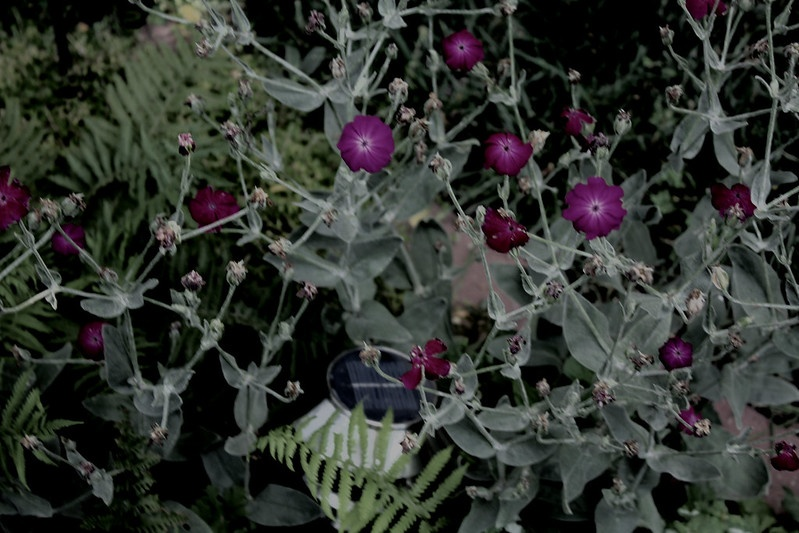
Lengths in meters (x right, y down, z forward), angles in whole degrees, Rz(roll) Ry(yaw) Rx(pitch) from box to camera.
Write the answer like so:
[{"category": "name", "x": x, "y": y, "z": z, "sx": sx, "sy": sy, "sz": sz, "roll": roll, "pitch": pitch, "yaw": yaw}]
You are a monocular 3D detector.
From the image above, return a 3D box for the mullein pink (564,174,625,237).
[{"category": "mullein pink", "x": 0.399, "y": -0.145, "z": 1.685, "sx": 0.112, "sy": 0.134, "sz": 0.050, "roll": 3, "pitch": 81, "yaw": -13}]

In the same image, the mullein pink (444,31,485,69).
[{"category": "mullein pink", "x": 0.144, "y": -0.482, "z": 1.855, "sx": 0.090, "sy": 0.099, "sz": 0.034, "roll": 2, "pitch": 100, "yaw": 33}]

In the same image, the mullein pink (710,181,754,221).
[{"category": "mullein pink", "x": 0.671, "y": -0.137, "z": 1.685, "sx": 0.070, "sy": 0.033, "sz": 0.074, "roll": 1, "pitch": 81, "yaw": 7}]

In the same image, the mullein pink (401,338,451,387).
[{"category": "mullein pink", "x": 0.057, "y": 0.192, "z": 1.628, "sx": 0.085, "sy": 0.033, "sz": 0.097, "roll": 26, "pitch": 85, "yaw": 3}]

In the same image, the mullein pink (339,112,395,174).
[{"category": "mullein pink", "x": -0.070, "y": -0.250, "z": 1.713, "sx": 0.115, "sy": 0.084, "sz": 0.093, "roll": 0, "pitch": 48, "yaw": -5}]
